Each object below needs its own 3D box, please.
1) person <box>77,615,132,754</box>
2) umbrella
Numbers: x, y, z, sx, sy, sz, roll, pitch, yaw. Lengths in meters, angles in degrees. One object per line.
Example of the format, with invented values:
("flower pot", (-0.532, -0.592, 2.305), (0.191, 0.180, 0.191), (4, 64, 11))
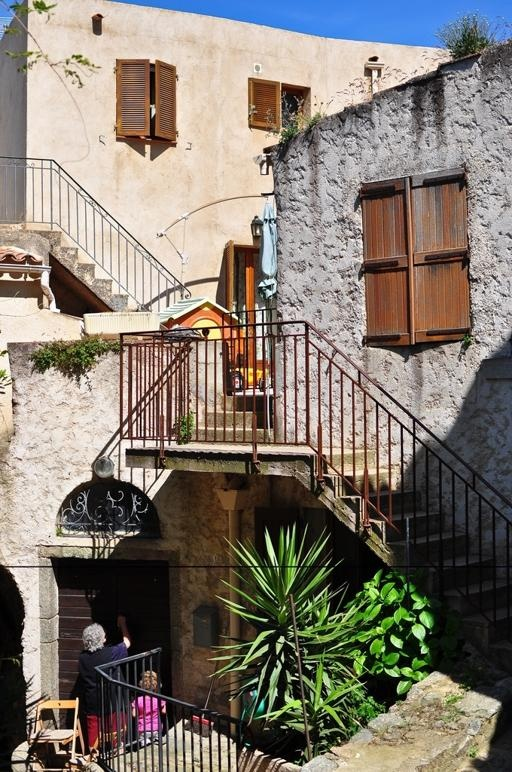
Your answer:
("person", (-1.365, 2.733, 13.205), (0.422, 1.353, 0.545), (-8, 5, -14))
("umbrella", (0.129, -1.461, 15.604), (0.201, 1.934, 0.248), (-2, 4, -34))
